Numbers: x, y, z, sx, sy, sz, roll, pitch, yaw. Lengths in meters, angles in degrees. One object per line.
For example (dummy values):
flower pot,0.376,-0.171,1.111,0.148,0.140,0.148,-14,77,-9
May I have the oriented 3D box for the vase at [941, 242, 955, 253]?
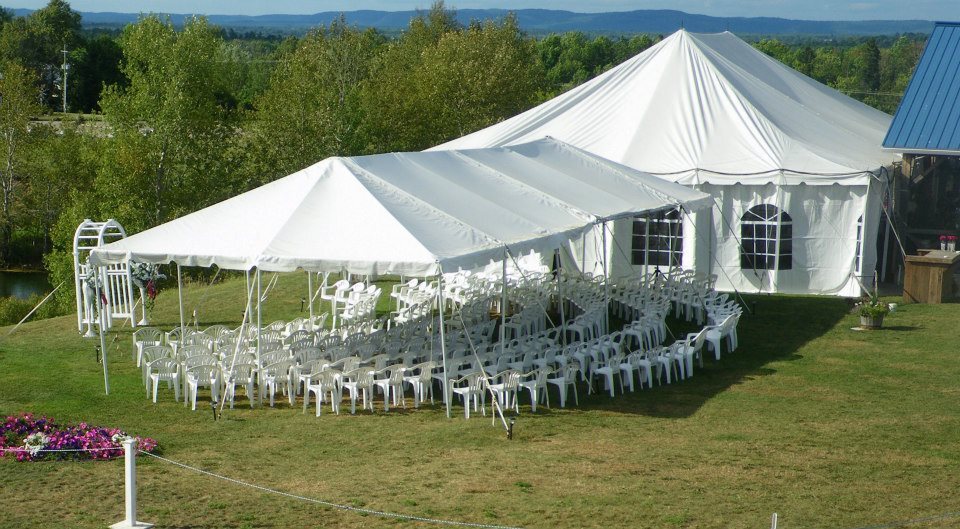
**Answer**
vase,22.836,-0.771,78.599,0.559,0.553,0.498,3,-4,-37
